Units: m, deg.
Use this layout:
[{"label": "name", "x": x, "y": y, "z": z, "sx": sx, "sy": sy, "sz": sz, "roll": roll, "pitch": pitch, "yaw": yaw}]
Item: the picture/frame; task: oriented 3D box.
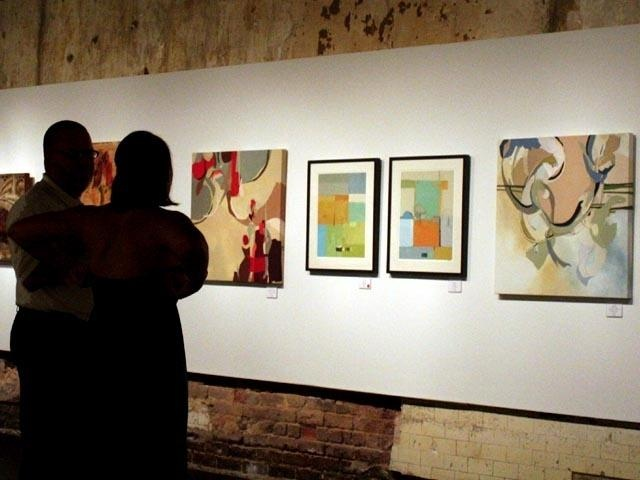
[{"label": "picture/frame", "x": 0.611, "y": -0.177, "z": 4.808, "sx": 0.885, "sy": 0.789, "sz": 0.032, "roll": 1, "pitch": 0, "yaw": 24}]
